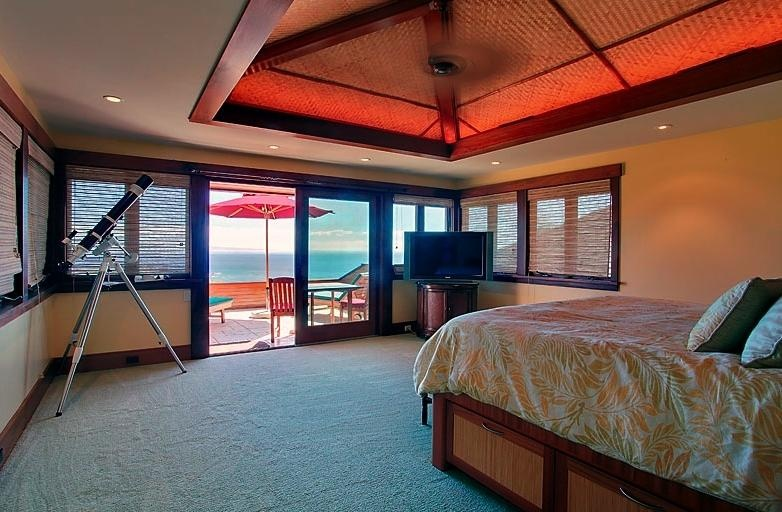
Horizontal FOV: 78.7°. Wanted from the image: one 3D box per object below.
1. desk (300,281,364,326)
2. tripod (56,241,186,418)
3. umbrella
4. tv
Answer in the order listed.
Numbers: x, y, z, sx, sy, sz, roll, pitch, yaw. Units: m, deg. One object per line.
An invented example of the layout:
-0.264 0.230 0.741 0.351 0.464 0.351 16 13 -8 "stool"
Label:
-0.844 0.642 6.727 0.803 0.515 0.612 1 4 -37 "desk"
-3.110 0.602 5.130 1.100 1.597 1.574 2 5 30 "tripod"
-1.974 -0.296 8.257 1.396 2.132 2.783 5 -1 14 "umbrella"
0.816 0.008 6.982 1.265 0.718 0.261 -1 5 -3 "tv"
